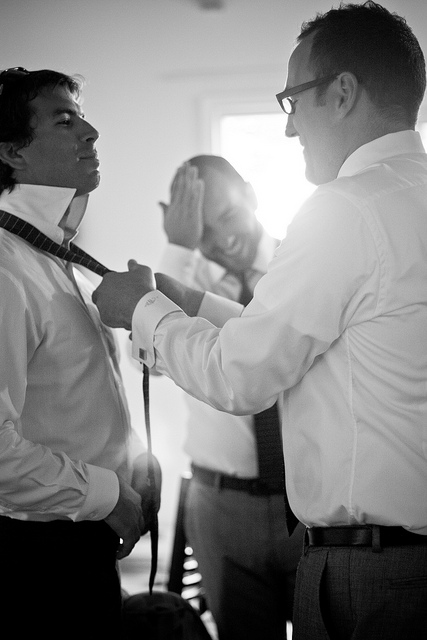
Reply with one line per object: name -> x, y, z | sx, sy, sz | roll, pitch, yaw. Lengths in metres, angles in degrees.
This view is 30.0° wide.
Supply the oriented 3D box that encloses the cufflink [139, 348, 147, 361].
cufflink -> -0.128, 0.061, 1.448 | 0.004, 0.017, 0.025 | -11, 11, -29
